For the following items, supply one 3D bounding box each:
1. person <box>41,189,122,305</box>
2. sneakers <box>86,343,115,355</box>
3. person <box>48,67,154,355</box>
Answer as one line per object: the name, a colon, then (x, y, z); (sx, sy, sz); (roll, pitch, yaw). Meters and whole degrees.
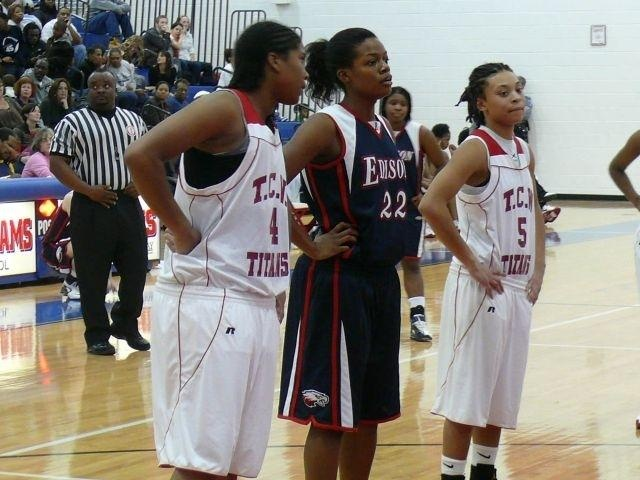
person: (-2.552, 0.004, 7.419); (0.815, 1.388, 0.657); (9, 14, 3)
sneakers: (-1.786, 0.899, 5.599); (0.185, 0.080, 0.106); (-3, -4, 25)
person: (-1.687, -0.196, 5.548); (0.843, 2.333, 0.611); (-7, 12, -44)
